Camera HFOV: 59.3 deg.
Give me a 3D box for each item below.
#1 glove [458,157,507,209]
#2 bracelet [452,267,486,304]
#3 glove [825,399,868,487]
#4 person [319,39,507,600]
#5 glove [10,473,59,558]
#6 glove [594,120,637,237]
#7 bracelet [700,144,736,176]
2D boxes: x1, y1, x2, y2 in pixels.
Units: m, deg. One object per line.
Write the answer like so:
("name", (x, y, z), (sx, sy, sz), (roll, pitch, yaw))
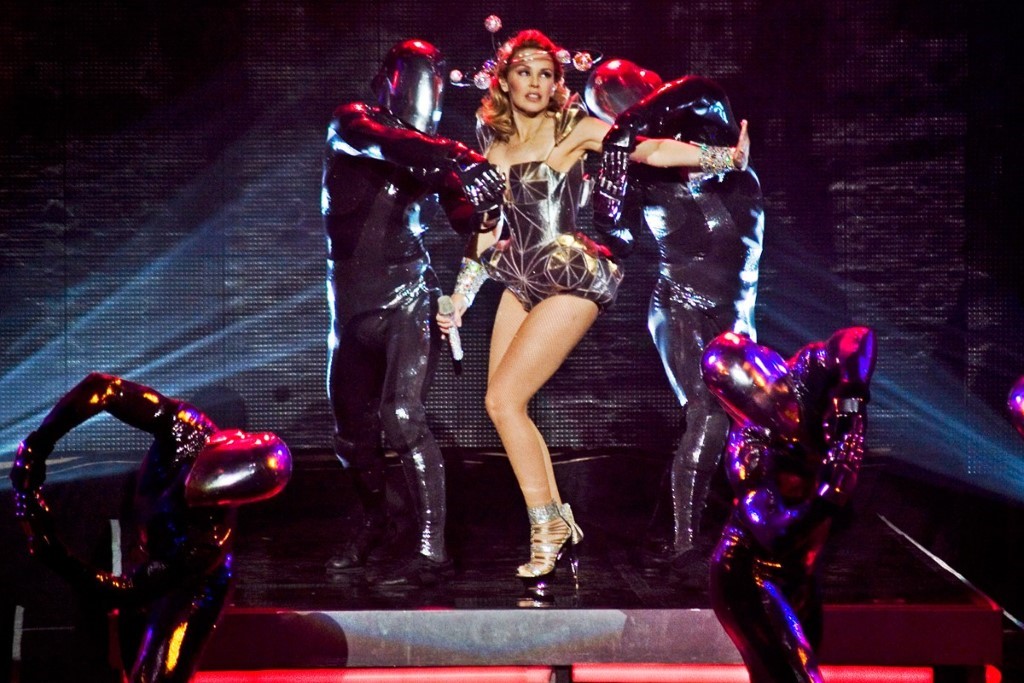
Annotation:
("glove", (-0.113, -0.598, 3.402), (0.190, 0.173, 0.044), (-31, 5, -14))
("bracelet", (-0.184, -0.229, 3.952), (0.101, 0.181, 0.118), (17, 33, -12))
("glove", (0.989, 0.294, 2.652), (0.164, 0.252, 0.091), (1, 1, 13))
("person", (-0.439, -0.146, 3.656), (0.746, 2.179, 0.504), (2, 3, -2))
("glove", (-1.474, 0.525, 2.762), (0.155, 0.273, 0.086), (3, 3, 28))
("glove", (0.450, -0.657, 3.691), (0.144, 0.454, 0.232), (4, 4, 36))
("bracelet", (0.832, -0.731, 3.627), (0.152, 0.111, 0.105), (2, 3, 11))
